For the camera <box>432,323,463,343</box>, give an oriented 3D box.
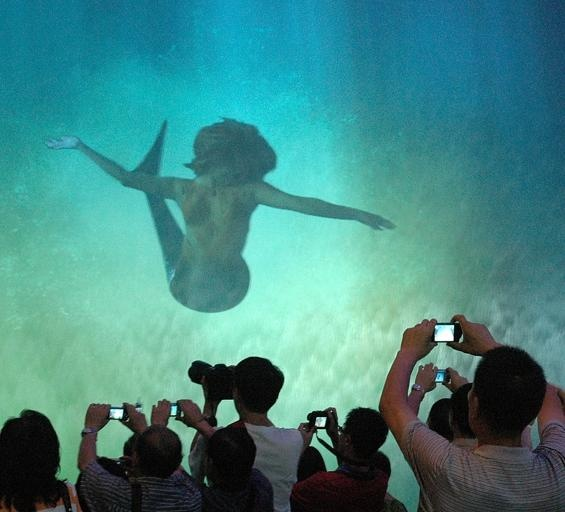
[{"bbox_3d":[0.544,0.240,1.785,0.111,0.086,0.030,0,-4,-4],"label":"camera"}]
